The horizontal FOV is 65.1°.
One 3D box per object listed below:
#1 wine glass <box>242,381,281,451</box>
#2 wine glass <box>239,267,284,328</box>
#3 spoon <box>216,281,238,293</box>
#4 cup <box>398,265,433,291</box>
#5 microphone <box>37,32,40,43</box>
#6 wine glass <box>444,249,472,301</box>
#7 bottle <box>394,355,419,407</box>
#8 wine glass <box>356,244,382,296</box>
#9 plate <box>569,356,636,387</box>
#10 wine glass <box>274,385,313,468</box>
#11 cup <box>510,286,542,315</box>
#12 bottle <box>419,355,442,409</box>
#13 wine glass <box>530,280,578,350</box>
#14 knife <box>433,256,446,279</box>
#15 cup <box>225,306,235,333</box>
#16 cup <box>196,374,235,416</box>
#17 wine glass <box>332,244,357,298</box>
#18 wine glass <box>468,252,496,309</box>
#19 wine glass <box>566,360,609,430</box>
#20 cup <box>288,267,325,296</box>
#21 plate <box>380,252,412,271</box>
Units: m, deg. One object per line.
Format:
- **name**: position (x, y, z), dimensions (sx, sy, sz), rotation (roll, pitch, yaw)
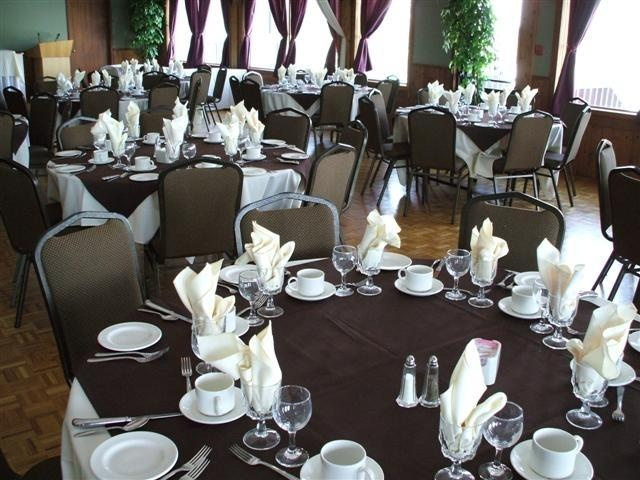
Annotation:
- **wine glass**: position (-0.140, 0.399, 1.209), dimensions (0.088, 0.163, 0.097), rotation (9, 12, 35)
- **wine glass**: position (-0.201, 0.176, 1.732), dimensions (0.145, 0.169, 0.194), rotation (1, 16, -6)
- **spoon**: position (-0.342, 0.174, 1.891), dimensions (0.109, 0.020, 0.042), rotation (17, 21, 36)
- **cup**: position (0.366, 0.134, 1.917), dimensions (0.133, 0.080, 0.152), rotation (6, 17, 9)
- **microphone**: position (-6.526, -4.722, 11.656), dimensions (0.105, 0.213, 0.137), rotation (-6, 18, -29)
- **wine glass**: position (0.527, 0.101, 1.924), dimensions (0.090, 0.169, 0.264), rotation (7, 17, 15)
- **bottle**: position (0.243, 0.358, 1.356), dimensions (0.060, 0.140, 0.109), rotation (6, 16, 11)
- **wine glass**: position (0.189, 0.095, 1.908), dimensions (0.097, 0.190, 0.104), rotation (-9, 14, -34)
- **plate**: position (0.824, 0.377, 1.443), dimensions (0.136, 0.027, 0.138), rotation (6, 23, 43)
- **wine glass**: position (-0.063, 0.422, 1.176), dimensions (0.085, 0.176, 0.100), rotation (2, 3, 9)
- **cup**: position (0.712, 0.195, 1.746), dimensions (0.078, 0.066, 0.077), rotation (-1, 23, 1)
- **bottle**: position (0.299, 0.373, 1.346), dimensions (0.062, 0.142, 0.069), rotation (2, 22, 5)
- **wine glass**: position (0.746, 0.226, 1.617), dimensions (0.125, 0.183, 0.158), rotation (11, 18, 26)
- **knife**: position (0.485, 0.105, 2.054), dimensions (0.024, 0.085, 0.058), rotation (16, 3, 10)
- **cup**: position (-0.268, 0.239, 1.531), dimensions (0.045, 0.055, 0.067), rotation (1, 12, -2)
- **cup**: position (-0.273, 0.409, 1.293), dimensions (0.074, 0.076, 0.103), rotation (-1, 6, -28)
- **wine glass**: position (0.093, 0.104, 1.890), dimensions (0.087, 0.200, 0.099), rotation (-3, 23, -19)
- **wine glass**: position (0.595, 0.131, 1.832), dimensions (0.088, 0.207, 0.096), rotation (-3, 17, -5)
- **wine glass**: position (0.687, 0.381, 1.286), dimensions (0.091, 0.155, 0.130), rotation (12, 18, 30)
- **cup**: position (-0.040, 0.139, 1.866), dimensions (0.106, 0.084, 0.088), rotation (-4, 21, -5)
- **plate**: position (0.315, 0.085, 2.117), dimensions (0.085, 0.014, 0.094), rotation (11, 28, 19)
